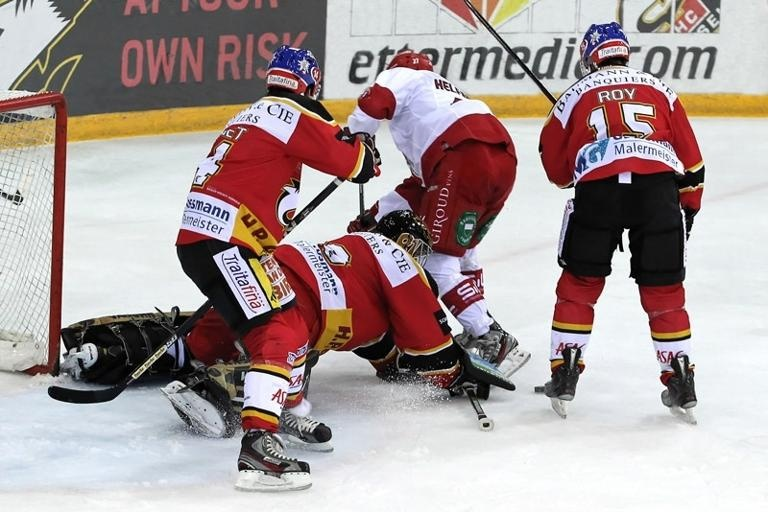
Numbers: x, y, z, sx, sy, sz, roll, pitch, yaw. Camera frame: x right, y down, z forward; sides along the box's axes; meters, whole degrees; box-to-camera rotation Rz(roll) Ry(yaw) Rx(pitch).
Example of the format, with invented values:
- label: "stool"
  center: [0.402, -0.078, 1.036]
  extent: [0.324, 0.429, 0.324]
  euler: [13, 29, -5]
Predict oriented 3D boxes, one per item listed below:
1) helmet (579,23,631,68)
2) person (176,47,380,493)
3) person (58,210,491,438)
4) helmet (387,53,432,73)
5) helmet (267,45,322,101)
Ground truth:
- label: "helmet"
  center: [1.257, -1.167, 5.476]
  extent: [0.273, 0.272, 0.307]
  euler: [-10, 15, -10]
- label: "person"
  center: [-0.558, -0.010, 4.730]
  extent: [0.940, 1.981, 1.070]
  euler: [2, 14, 4]
- label: "person"
  center: [-0.535, 0.313, 5.096]
  extent: [1.637, 0.582, 1.533]
  euler: [-19, 33, -31]
- label: "helmet"
  center: [0.171, -1.198, 6.116]
  extent: [0.222, 0.181, 0.141]
  euler: [2, 40, -3]
- label: "helmet"
  center: [-0.443, -0.954, 5.024]
  extent: [0.264, 0.240, 0.317]
  euler: [6, 5, 30]
